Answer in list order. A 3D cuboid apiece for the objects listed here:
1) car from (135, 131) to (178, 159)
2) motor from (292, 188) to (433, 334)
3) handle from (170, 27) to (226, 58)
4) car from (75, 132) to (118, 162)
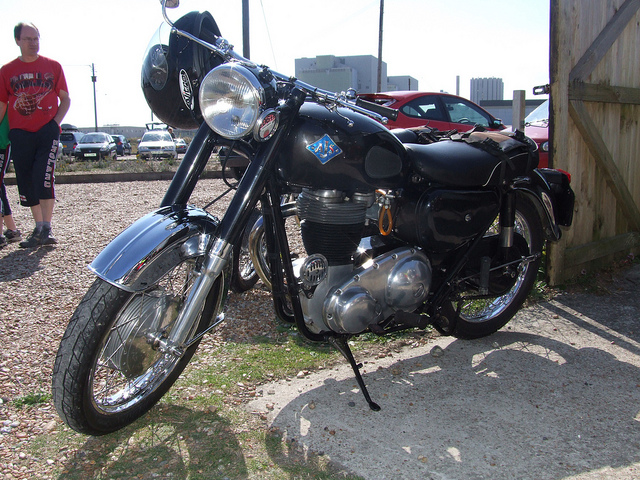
[{"bbox_3d":[-6.316,-3.600,21.119,1.156,1.009,2.135,-3,11,-8],"label":"car"},{"bbox_3d":[0.237,0.056,3.291,0.919,0.980,0.573,-12,18,-28],"label":"motor"},{"bbox_3d":[-0.673,-1.055,2.881,0.372,0.136,0.122,13,19,34],"label":"handle"},{"bbox_3d":[-8.836,-3.716,21.583,1.123,0.990,2.056,-1,5,-1],"label":"car"}]
